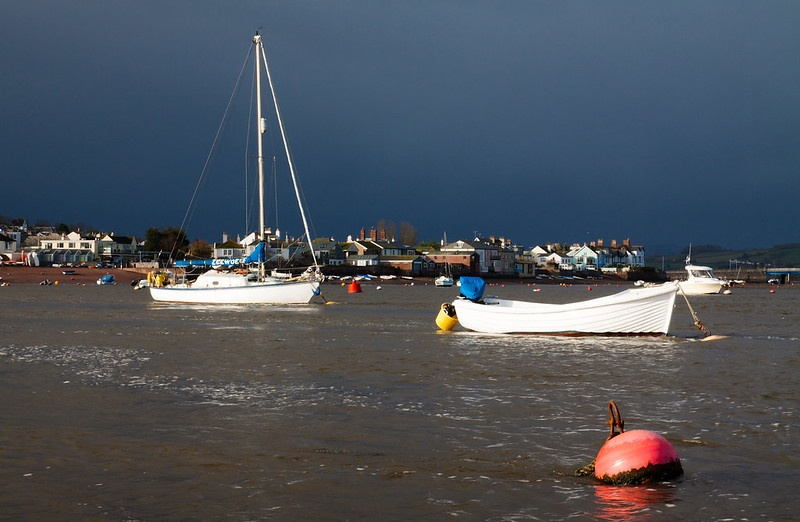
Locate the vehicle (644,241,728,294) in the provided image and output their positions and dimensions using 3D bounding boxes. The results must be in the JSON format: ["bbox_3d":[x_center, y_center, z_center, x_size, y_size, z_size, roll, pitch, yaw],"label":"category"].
[{"bbox_3d":[29.833,1.112,92.706,8.439,4.271,2.618,1,13,27],"label":"vehicle"}]

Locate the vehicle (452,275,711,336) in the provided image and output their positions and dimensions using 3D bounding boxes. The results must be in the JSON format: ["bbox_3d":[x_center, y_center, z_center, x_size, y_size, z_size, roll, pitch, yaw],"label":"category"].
[{"bbox_3d":[6.742,2.371,36.393,11.832,2.975,3.572,-1,2,21],"label":"vehicle"}]

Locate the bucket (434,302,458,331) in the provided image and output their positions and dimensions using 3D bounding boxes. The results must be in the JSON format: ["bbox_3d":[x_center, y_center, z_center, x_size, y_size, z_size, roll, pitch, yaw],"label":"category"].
[{"bbox_3d":[2.117,2.554,39.549,1.110,0.829,1.151,29,16,-9],"label":"bucket"}]
